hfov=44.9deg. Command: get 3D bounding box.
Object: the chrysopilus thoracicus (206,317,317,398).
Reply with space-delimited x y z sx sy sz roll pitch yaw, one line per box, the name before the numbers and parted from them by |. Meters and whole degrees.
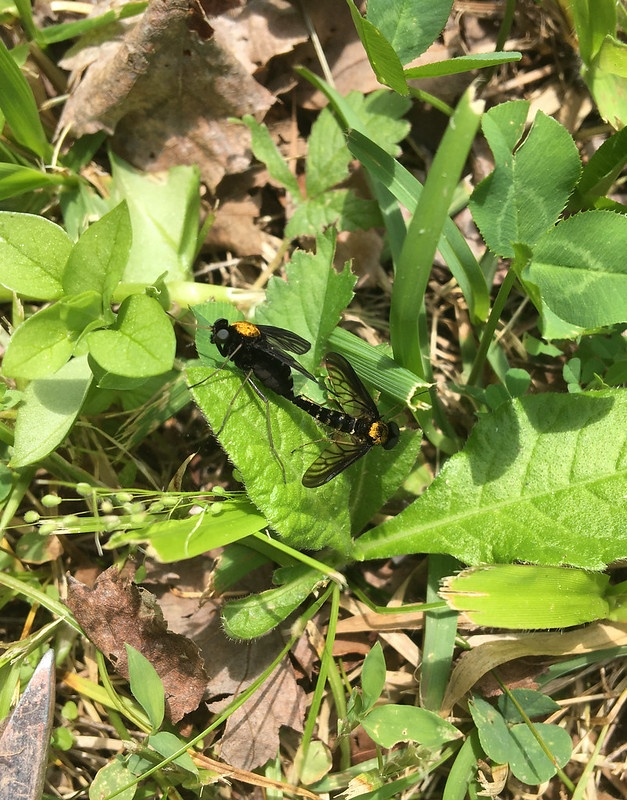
chrysopilus thoracicus | -0.137 -0.091 2.059 0.267 0.079 0.222 20 32 -12
